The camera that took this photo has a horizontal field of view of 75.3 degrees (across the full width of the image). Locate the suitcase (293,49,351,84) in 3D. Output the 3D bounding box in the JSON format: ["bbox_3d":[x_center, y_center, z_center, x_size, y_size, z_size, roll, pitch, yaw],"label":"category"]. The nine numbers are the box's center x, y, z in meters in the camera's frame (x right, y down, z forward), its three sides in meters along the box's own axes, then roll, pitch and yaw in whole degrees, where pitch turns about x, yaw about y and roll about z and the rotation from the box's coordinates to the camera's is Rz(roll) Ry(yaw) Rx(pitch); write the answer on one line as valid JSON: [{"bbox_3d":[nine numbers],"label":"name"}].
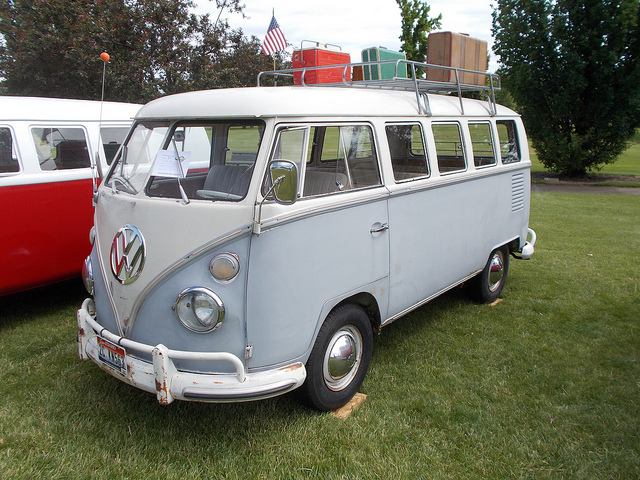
[{"bbox_3d":[0.145,-3.237,7.849,0.866,0.658,0.497,-15,28,-33],"label":"suitcase"}]

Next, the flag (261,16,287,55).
[{"bbox_3d":[-1.951,-8.628,17.353,1.190,1.798,0.047,-7,-8,12],"label":"flag"}]

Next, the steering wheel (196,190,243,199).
[{"bbox_3d":[-0.862,-0.389,3.611,0.591,0.033,0.226,11,19,39],"label":"steering wheel"}]

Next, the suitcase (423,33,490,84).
[{"bbox_3d":[2.096,-2.664,6.238,1.115,0.792,0.379,-17,22,-42],"label":"suitcase"}]

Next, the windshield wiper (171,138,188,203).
[{"bbox_3d":[-1.237,-0.584,3.652,0.085,0.581,0.074,-8,-15,-32],"label":"windshield wiper"}]

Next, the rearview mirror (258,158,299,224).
[{"bbox_3d":[-0.335,-0.404,3.362,0.318,0.482,0.313,-1,14,0],"label":"rearview mirror"}]
